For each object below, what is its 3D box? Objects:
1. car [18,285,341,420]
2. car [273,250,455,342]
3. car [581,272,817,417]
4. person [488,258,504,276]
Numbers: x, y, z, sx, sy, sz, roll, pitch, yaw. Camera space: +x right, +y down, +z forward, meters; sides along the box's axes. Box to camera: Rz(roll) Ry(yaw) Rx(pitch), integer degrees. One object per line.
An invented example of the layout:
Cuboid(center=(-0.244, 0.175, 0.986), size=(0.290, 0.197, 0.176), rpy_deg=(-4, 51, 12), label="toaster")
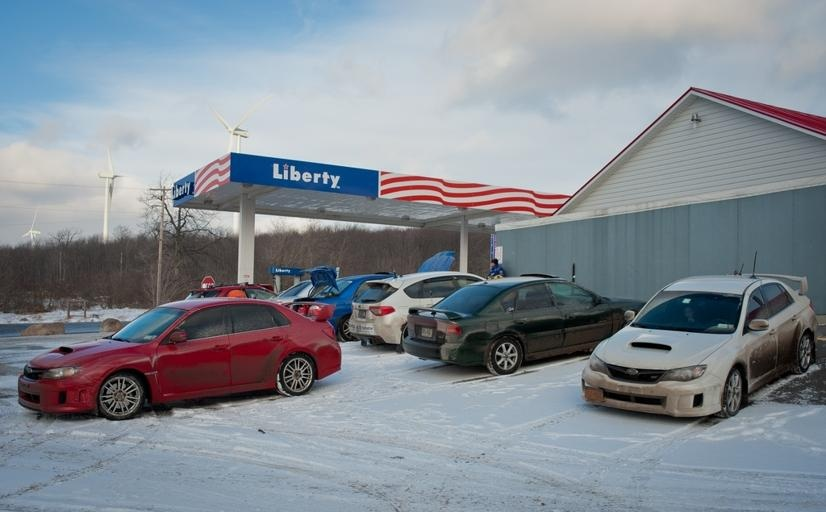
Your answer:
Cuboid(center=(-4.379, 1.889, 12.652), size=(5.780, 1.536, 2.331), rpy_deg=(3, -7, -29), label="car")
Cuboid(center=(-0.727, 0.974, 20.352), size=(6.439, 2.097, 2.800), rpy_deg=(-2, -1, -32), label="car")
Cuboid(center=(5.401, 1.619, 12.001), size=(4.371, 2.165, 2.027), rpy_deg=(-7, 11, -36), label="car")
Cuboid(center=(3.099, 0.450, 23.892), size=(0.745, 0.843, 0.605), rpy_deg=(0, -2, -6), label="person")
